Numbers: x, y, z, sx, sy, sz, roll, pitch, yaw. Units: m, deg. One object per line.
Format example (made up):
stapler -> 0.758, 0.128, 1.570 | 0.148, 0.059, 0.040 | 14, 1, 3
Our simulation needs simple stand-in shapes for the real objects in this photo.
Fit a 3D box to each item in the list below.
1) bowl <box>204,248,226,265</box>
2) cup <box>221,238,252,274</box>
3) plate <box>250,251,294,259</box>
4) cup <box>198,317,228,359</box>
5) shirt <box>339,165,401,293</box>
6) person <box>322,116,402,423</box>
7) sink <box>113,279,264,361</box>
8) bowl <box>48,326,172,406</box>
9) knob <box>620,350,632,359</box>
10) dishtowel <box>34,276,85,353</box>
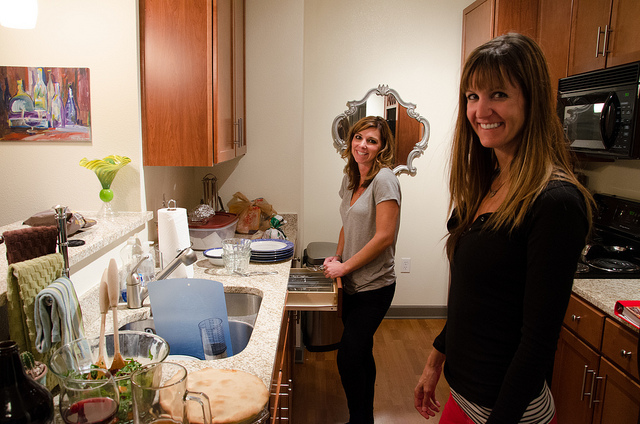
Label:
bowl -> -0.620, 0.261, 2.571 | 0.104, 0.037, 0.103 | 0, 11, 0
cup -> -0.476, 0.261, 2.487 | 0.174, 0.198, 0.189 | -4, -6, 0
plate -> -0.297, 0.274, 2.690 | 0.258, 0.023, 0.061 | -4, 12, -11
cup -> -0.444, 0.573, 1.841 | 0.109, 0.183, 0.113 | -3, -31, -2
shirt -> 0.310, 0.107, 2.808 | 0.316, 0.822, 0.619 | 4, -1, -17
person -> 0.255, 0.381, 2.744 | 0.477, 1.920, 0.744 | 0, 13, 9
sink -> -0.559, 0.436, 2.037 | 0.530, 0.523, 0.341 | -1, 6, 3
bowl -> -0.619, 0.462, 1.324 | 0.280, 0.113, 0.282 | 5, -3, 0
knob -> 1.486, 0.697, 2.117 | 0.033, 0.026, 0.035 | -8, 2, 15
dishtowel -> -0.832, 0.333, 1.432 | 0.081, 0.204, 0.142 | 2, 12, -6
